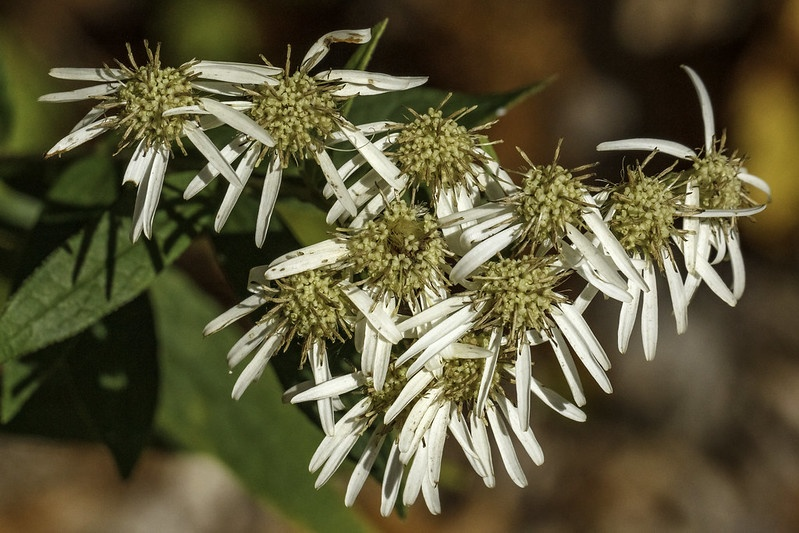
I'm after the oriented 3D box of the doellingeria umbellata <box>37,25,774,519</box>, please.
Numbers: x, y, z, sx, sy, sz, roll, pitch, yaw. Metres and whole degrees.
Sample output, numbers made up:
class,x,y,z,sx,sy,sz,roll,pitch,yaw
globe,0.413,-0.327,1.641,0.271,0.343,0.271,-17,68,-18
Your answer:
class,x,y,z,sx,sy,sz,roll,pitch,yaw
doellingeria umbellata,0.203,0.084,2.914,1.487,0.446,1.641,-40,83,-8
